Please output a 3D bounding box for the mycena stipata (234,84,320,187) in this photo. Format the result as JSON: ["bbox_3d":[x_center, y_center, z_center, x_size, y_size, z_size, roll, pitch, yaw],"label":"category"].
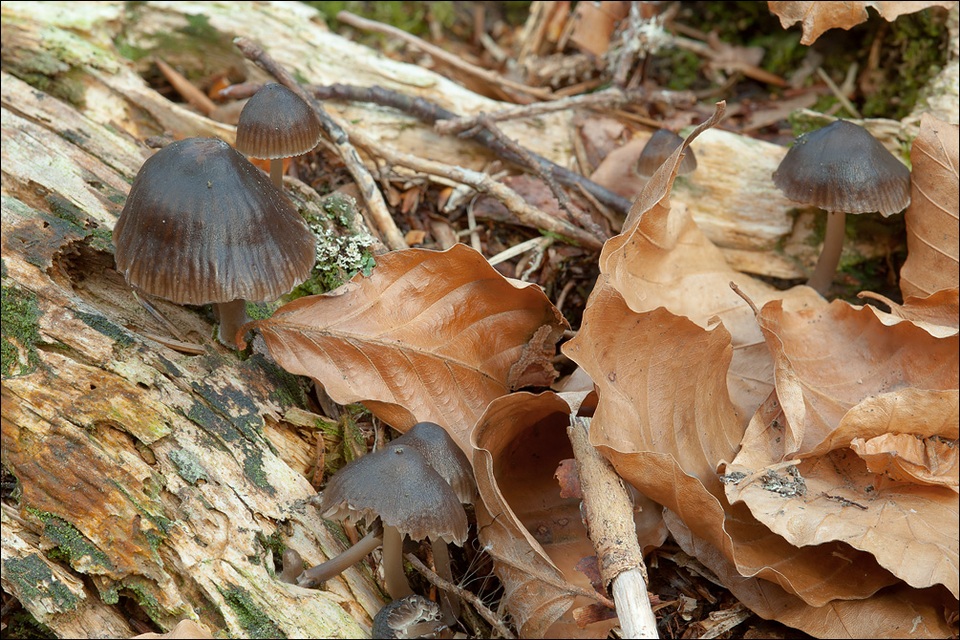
[{"bbox_3d":[-1.011,-0.938,4.806,0.424,0.507,0.416,14,43,8],"label":"mycena stipata"}]
